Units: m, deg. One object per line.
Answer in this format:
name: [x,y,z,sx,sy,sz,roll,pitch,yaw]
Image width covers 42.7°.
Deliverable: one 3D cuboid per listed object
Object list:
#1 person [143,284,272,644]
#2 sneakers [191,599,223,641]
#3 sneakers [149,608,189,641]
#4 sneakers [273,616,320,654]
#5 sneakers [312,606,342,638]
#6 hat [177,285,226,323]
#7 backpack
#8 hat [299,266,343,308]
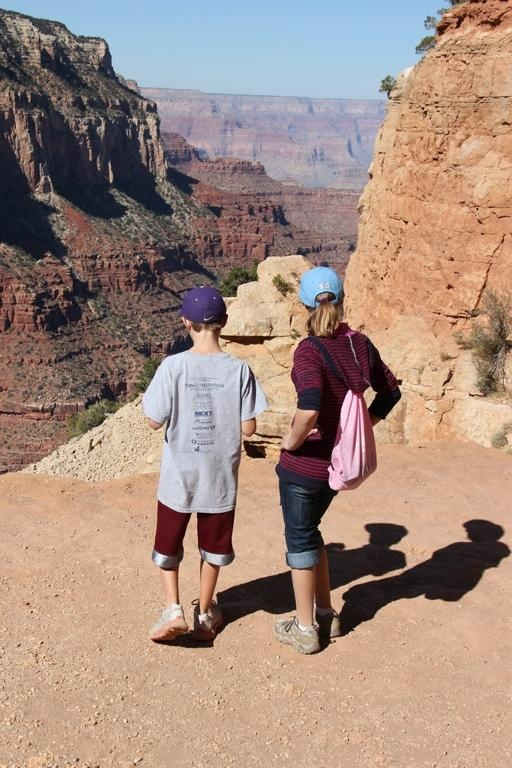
person: [-0.262,0.439,3.307,0.629,1.857,0.359,-3,3,-11]
sneakers: [-0.269,1.258,3.521,0.104,0.119,0.248,-1,14,3]
sneakers: [-0.463,1.225,3.350,0.110,0.278,0.136,19,41,-23]
sneakers: [0.182,1.273,3.409,0.117,0.154,0.306,-7,14,-35]
sneakers: [0.381,1.269,3.543,0.081,0.094,0.219,-2,11,-13]
hat: [-0.269,-0.391,3.237,0.224,0.198,0.262,-3,3,-5]
backpack: [0.426,0.143,3.102,0.218,0.744,0.301,-1,4,35]
hat: [0.308,-0.469,3.111,0.199,0.213,0.244,-4,3,-29]
